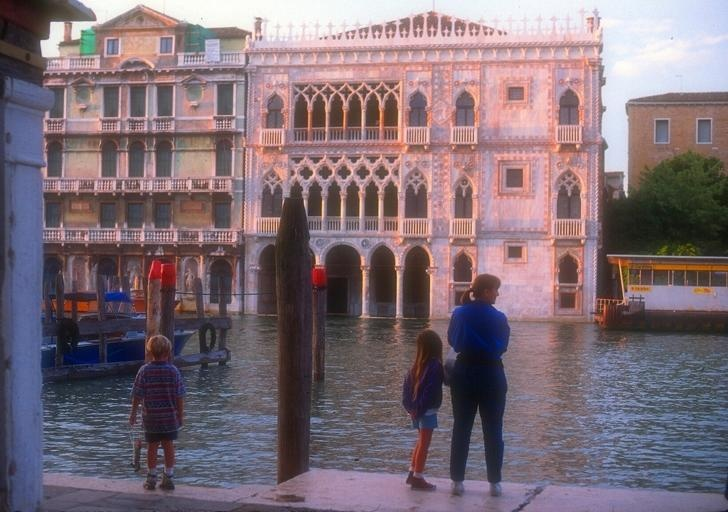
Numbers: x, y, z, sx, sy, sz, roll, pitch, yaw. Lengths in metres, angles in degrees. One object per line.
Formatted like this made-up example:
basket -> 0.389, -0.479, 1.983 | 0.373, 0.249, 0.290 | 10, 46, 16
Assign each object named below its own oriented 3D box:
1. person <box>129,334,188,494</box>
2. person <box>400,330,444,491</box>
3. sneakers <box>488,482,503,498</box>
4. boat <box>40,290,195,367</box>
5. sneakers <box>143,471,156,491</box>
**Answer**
person -> -4.243, 3.144, 28.254 | 1.034, 3.111, 0.704 | 1, -2, -8
person -> 1.215, 3.067, 28.068 | 0.828, 3.184, 0.594 | 0, -2, 3
sneakers -> 2.678, 4.592, 27.570 | 0.335, 0.276, 0.232 | 2, -2, -29
boat -> -7.526, 2.287, 38.655 | 5.793, 2.066, 1.887 | -1, 1, -34
sneakers -> -4.367, 4.475, 27.954 | 0.242, 0.415, 0.194 | 1, -2, -1
